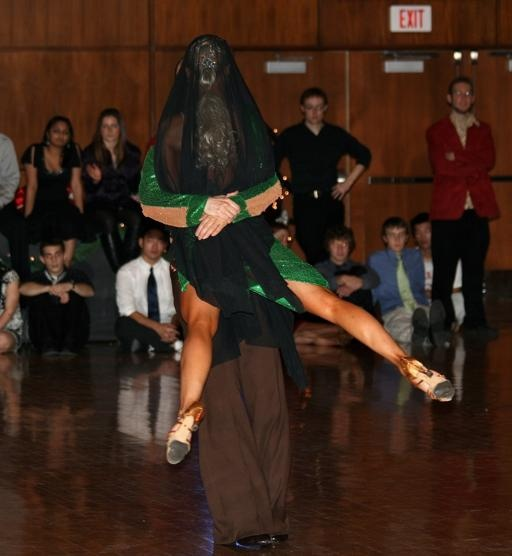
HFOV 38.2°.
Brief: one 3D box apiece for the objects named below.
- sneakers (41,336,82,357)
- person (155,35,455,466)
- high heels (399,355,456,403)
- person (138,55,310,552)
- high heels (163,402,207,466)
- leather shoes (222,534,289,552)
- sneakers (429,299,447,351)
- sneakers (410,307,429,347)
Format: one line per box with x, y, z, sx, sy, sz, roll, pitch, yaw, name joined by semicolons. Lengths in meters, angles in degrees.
-1.281;0.466;4.964;0.270;0.104;0.147;-4;9;-36;sneakers
0.011;0.018;1.986;0.565;1.337;0.532;-1;8;-21;person
0.407;0.241;1.821;0.141;0.080;0.056;33;-11;32;high heels
-0.046;0.032;2.049;0.518;1.353;0.465;-5;2;-32;person
-0.156;0.355;1.704;0.053;0.038;0.164;23;49;3;high heels
0.001;0.690;1.921;0.160;0.064;0.051;2;6;-4;leather shoes
1.238;0.324;5.147;0.109;0.307;0.134;-2;-7;-3;sneakers
1.145;0.288;5.216;0.106;0.101;0.251;-5;14;22;sneakers
